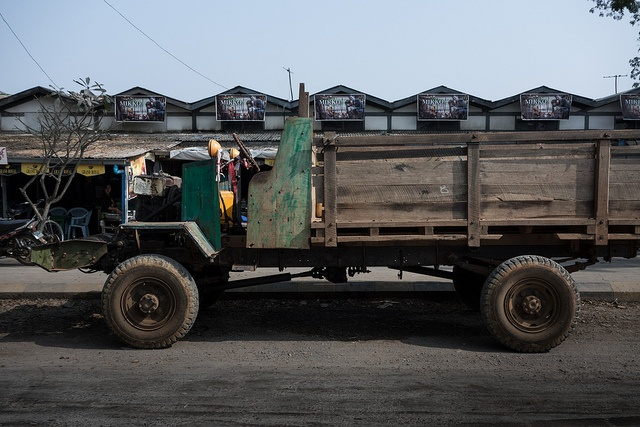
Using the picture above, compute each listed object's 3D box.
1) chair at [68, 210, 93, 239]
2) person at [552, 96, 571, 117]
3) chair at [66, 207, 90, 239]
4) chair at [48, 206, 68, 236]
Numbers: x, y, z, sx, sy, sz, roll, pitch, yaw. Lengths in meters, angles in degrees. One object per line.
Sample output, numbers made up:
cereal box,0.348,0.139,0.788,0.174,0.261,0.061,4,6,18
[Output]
chair,-6.915,0.298,21.105,0.742,0.961,0.782,0,-8,-7
person,9.110,-4.050,27.934,0.788,0.805,0.454,1,-1,-11
chair,-6.976,0.286,21.139,0.823,1.056,0.843,1,-6,-13
chair,-7.557,0.242,21.411,0.806,0.750,0.789,0,0,-6
